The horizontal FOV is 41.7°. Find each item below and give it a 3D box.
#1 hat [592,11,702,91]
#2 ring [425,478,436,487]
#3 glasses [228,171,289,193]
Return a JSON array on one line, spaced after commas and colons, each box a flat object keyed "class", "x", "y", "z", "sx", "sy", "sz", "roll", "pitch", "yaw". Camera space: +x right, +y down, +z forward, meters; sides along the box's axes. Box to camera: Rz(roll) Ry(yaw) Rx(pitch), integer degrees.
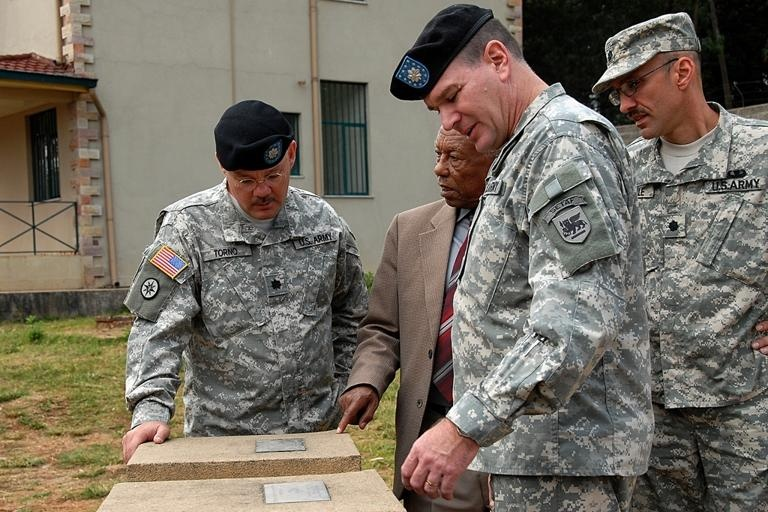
[{"class": "hat", "x": 1.885, "y": -1.508, "z": 7.306, "sx": 0.699, "sy": 0.239, "sz": 0.515, "roll": -24, "pitch": -3, "yaw": -6}, {"class": "ring", "x": 0.273, "y": 1.306, "z": 5.870, "sx": 0.042, "sy": 0.048, "sz": 0.020, "roll": 1, "pitch": 0, "yaw": 10}, {"class": "glasses", "x": -0.883, "y": -0.525, "z": 7.087, "sx": 0.344, "sy": 0.129, "sz": 0.062, "roll": -2, "pitch": 15, "yaw": -12}]
